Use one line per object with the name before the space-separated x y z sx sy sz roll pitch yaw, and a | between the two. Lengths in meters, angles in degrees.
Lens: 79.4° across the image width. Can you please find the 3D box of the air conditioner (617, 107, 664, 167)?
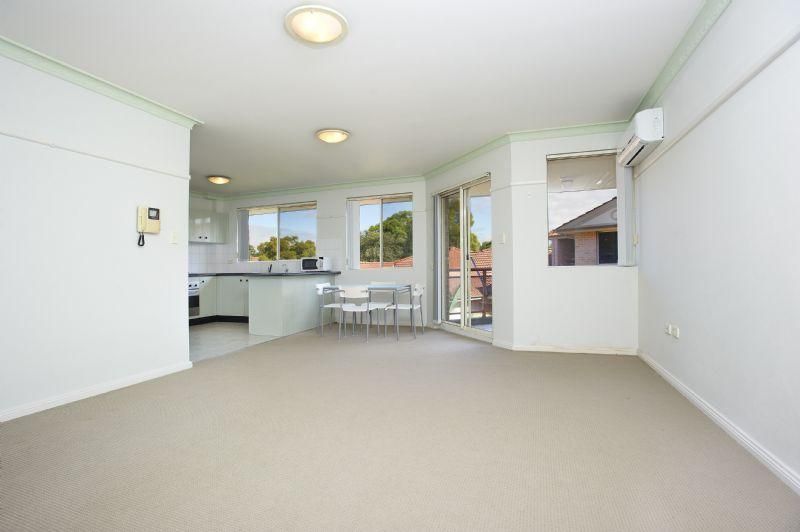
air conditioner | 2.729 -1.429 5.560 0.266 0.368 1.020 1 -5 13

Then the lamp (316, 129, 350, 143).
lamp | -0.901 -1.724 6.339 0.436 0.112 0.293 1 5 18

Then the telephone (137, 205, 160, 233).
telephone | -2.778 -0.513 5.355 0.068 0.322 0.287 2 5 29

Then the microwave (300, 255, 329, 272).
microwave | -1.487 -0.018 8.634 0.372 0.240 0.279 -2 -6 20

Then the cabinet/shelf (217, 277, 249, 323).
cabinet/shelf | -3.144 0.641 9.113 0.824 0.821 0.468 1 2 20

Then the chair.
chair | -0.474 0.697 8.029 1.090 0.586 1.101 0 2 12

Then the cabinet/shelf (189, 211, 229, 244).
cabinet/shelf | -3.688 -0.734 9.245 0.473 0.651 0.904 4 6 22

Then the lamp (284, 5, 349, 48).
lamp | -0.753 -2.177 4.332 0.538 0.193 0.363 -2 5 -21
